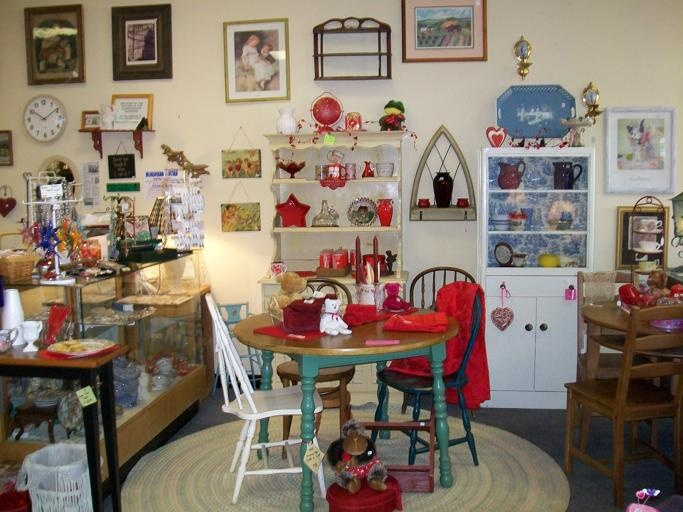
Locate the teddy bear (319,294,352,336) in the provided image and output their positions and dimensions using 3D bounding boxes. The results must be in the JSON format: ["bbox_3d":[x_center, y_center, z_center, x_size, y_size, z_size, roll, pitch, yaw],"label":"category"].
[{"bbox_3d":[-0.042,0.382,3.676,0.210,0.227,0.194,7,10,15],"label":"teddy bear"}]

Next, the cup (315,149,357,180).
[{"bbox_3d":[-0.040,-0.844,5.424,0.405,0.289,0.250,-1,7,-18],"label":"cup"}]

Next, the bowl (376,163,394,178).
[{"bbox_3d":[0.399,-0.792,5.368,0.155,0.139,0.186,1,5,7],"label":"bowl"}]

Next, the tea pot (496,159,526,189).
[{"bbox_3d":[1.441,-0.694,4.995,0.254,0.262,0.194,2,6,9],"label":"tea pot"}]

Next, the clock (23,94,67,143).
[{"bbox_3d":[-2.889,-1.368,5.714,0.445,0.510,0.101,1,0,4],"label":"clock"}]

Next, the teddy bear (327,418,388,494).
[{"bbox_3d":[0.096,1.192,3.471,0.341,0.373,0.294,-4,3,8],"label":"teddy bear"}]

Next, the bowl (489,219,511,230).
[{"bbox_3d":[1.361,-0.260,5.044,0.117,0.049,0.117,1,1,0],"label":"bowl"}]

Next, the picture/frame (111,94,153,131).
[{"bbox_3d":[-2.004,-1.377,5.611,0.352,0.312,0.026,0,1,0],"label":"picture/frame"}]

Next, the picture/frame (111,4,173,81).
[{"bbox_3d":[-1.889,-2.073,5.565,0.678,0.805,0.058,0,3,-1],"label":"picture/frame"}]

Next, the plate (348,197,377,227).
[{"bbox_3d":[0.196,-0.410,5.441,0.278,0.269,0.320,0,5,1],"label":"plate"}]

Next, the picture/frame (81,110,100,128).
[{"bbox_3d":[-2.415,-1.322,5.645,0.187,0.170,0.020,-1,-2,0],"label":"picture/frame"}]

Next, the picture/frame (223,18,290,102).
[{"bbox_3d":[-0.772,-1.881,5.499,0.769,0.888,0.038,0,1,4],"label":"picture/frame"}]

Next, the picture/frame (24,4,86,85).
[{"bbox_3d":[-2.744,-2.071,5.633,0.761,0.953,0.066,0,9,6],"label":"picture/frame"}]

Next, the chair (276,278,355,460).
[{"bbox_3d":[-0.216,0.888,4.324,0.725,1.400,0.665,-6,-8,0],"label":"chair"}]

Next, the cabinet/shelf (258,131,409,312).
[{"bbox_3d":[-0.034,-0.359,5.174,1.653,2.150,0.685,0,3,5],"label":"cabinet/shelf"}]

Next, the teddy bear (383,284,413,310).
[{"bbox_3d":[0.395,0.288,4.160,0.194,0.195,0.175,-2,0,-7],"label":"teddy bear"}]

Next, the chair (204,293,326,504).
[{"bbox_3d":[-0.306,0.904,3.829,0.666,1.105,0.596,4,-5,-7],"label":"chair"}]

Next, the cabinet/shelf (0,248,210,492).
[{"bbox_3d":[-1.599,0.780,3.866,0.482,1.311,1.519,0,5,9],"label":"cabinet/shelf"}]

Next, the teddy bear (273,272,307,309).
[{"bbox_3d":[-0.350,0.208,3.821,0.209,0.271,0.240,3,3,21],"label":"teddy bear"}]

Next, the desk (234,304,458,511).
[{"bbox_3d":[0.110,0.832,4.006,1.229,0.892,1.236,-1,0,-8],"label":"desk"}]

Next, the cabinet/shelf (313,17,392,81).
[{"bbox_3d":[0.098,-1.925,5.424,0.710,0.549,0.156,-1,24,1],"label":"cabinet/shelf"}]

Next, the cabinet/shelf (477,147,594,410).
[{"bbox_3d":[1.652,0.181,5.181,0.975,2.175,0.516,1,0,2],"label":"cabinet/shelf"}]
